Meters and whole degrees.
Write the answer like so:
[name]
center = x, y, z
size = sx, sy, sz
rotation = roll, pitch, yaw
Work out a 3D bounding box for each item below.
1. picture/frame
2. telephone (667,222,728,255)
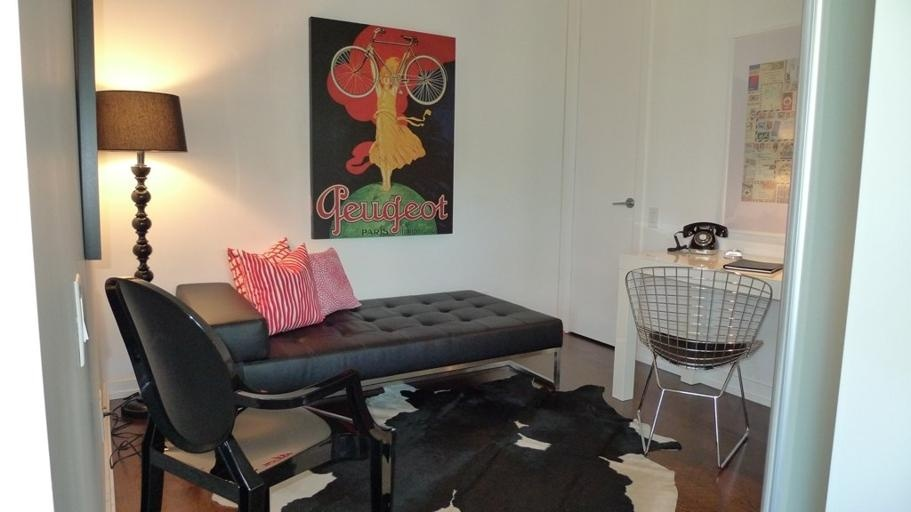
[picture/frame]
center = 1.817, -0.724, 3.760
size = 0.116, 1.208, 0.522
rotation = -4, 16, -23
[telephone]
center = 1.572, -0.061, 4.002
size = 0.378, 0.179, 0.209
rotation = -1, 0, 32
